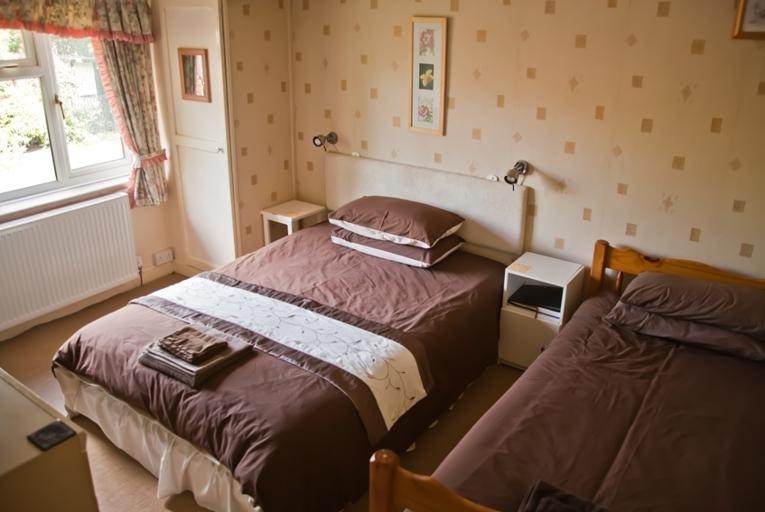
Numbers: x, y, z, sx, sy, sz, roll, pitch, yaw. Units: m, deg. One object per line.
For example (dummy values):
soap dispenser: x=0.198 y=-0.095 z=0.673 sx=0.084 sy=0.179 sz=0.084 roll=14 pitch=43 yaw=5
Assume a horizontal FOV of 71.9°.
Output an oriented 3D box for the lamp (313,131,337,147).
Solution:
lamp: x=-0.516 y=-1.025 z=4.688 sx=0.216 sy=0.162 sz=0.179 roll=0 pitch=23 yaw=-8

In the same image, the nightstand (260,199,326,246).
nightstand: x=-0.790 y=-0.402 z=4.825 sx=0.452 sy=0.458 sz=0.453 roll=16 pitch=28 yaw=33

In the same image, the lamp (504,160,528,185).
lamp: x=0.997 y=-0.622 z=3.916 sx=0.088 sy=0.107 sz=0.188 roll=50 pitch=53 yaw=3

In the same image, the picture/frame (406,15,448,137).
picture/frame: x=0.351 y=-1.402 z=4.117 sx=0.390 sy=0.841 sz=0.100 roll=18 pitch=28 yaw=32

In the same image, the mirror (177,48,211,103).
mirror: x=-1.568 y=-1.528 z=4.406 sx=0.391 sy=0.458 sz=0.036 roll=14 pitch=23 yaw=32
